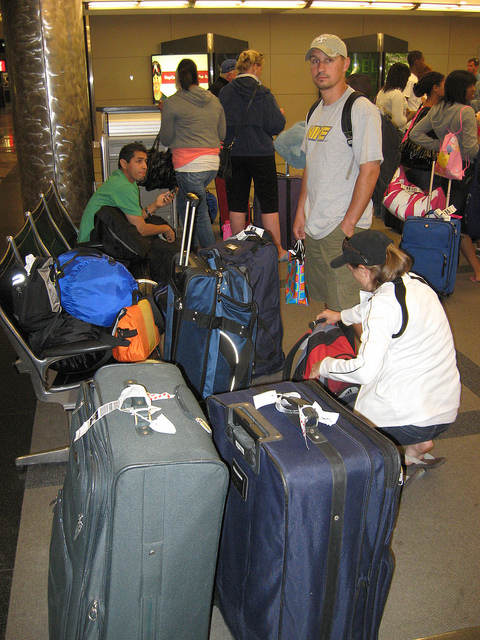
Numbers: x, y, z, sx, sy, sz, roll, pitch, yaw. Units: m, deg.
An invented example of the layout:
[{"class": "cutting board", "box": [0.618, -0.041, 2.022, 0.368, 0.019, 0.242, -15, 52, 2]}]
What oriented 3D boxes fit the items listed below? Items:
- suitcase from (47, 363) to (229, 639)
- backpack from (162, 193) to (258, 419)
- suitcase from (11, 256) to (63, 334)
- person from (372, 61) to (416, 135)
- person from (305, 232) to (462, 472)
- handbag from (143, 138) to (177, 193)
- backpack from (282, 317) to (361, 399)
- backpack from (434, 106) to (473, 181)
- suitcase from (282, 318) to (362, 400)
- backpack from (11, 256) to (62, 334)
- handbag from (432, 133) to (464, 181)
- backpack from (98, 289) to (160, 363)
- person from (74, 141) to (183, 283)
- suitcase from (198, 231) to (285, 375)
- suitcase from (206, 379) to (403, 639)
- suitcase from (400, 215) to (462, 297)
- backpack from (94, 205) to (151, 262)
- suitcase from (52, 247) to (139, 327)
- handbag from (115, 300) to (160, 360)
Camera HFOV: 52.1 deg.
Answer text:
[{"class": "suitcase", "box": [-0.207, 0.394, 1.039, 0.334, 0.654, 0.444, 2, 31, -15]}, {"class": "backpack", "box": [-0.116, -0.085, 2.291, 0.343, 0.987, 0.519, -7, 40, -19]}, {"class": "suitcase", "box": [-0.789, -0.098, 1.893, 0.213, 0.314, 0.162, 18, 25, 39]}, {"class": "person", "box": [1.706, -2.338, 5.413, 0.402, 0.829, 0.516, -1, 26, 0]}, {"class": "person", "box": [0.521, 0.123, 1.839, 0.508, 0.896, 0.478, -6, 18, 12]}, {"class": "handbag", "box": [-0.674, -1.324, 4.141, 0.250, 0.510, 0.341, 0, 15, -21]}, {"class": "backpack", "box": [0.336, 0.162, 2.007, 0.211, 0.267, 0.228, -13, -8, 42]}, {"class": "backpack", "box": [1.744, -1.424, 4.009, 0.244, 0.547, 0.295, -6, 16, -15]}, {"class": "suitcase", "box": [0.323, 0.147, 1.870, 0.289, 0.233, 0.417, 2, -23, -12]}, {"class": "backpack", "box": [-0.788, -0.087, 1.889, 0.204, 0.307, 0.153, 11, 20, 41]}, {"class": "handbag", "box": [1.709, -1.327, 4.024, 0.248, 0.355, 0.185, 17, 27, 35]}, {"class": "backpack", "box": [-0.452, 0.024, 1.975, 0.114, 0.225, 0.221, 9, 23, 4]}, {"class": "person", "box": [-0.677, -0.624, 3.103, 0.630, 0.868, 0.397, 1, 22, -17]}, {"class": "suitcase", "box": [0.009, -0.068, 2.375, 0.339, 0.689, 0.492, -7, 29, -7]}, {"class": "suitcase", "box": [0.134, 0.497, 1.233, 0.348, 0.635, 0.445, -9, 24, -23]}, {"class": "suitcase", "box": [1.473, -0.518, 3.910, 0.398, 0.633, 0.318, 12, 22, 34]}, {"class": "backpack", "box": [-0.706, -0.493, 2.880, 0.295, 0.325, 0.129, -26, 5, 45]}, {"class": "suitcase", "box": [-0.575, -0.140, 1.952, 0.313, 0.251, 0.110, 21, 1, 11]}, {"class": "handbag", "box": [-0.423, 0.036, 2.099, 0.111, 0.241, 0.277, 1, 16, 9]}]
